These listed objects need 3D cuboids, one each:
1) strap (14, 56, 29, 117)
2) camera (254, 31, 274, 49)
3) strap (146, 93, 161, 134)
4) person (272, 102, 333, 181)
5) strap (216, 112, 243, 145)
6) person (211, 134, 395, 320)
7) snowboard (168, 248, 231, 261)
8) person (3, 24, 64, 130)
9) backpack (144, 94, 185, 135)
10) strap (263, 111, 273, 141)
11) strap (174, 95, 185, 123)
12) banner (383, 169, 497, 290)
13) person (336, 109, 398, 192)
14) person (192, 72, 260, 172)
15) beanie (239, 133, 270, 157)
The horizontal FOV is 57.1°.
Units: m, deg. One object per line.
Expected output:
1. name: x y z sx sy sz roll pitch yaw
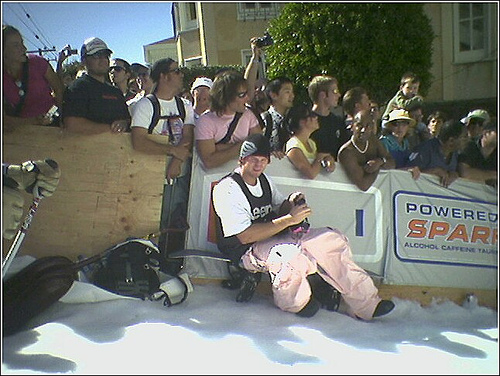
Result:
1. strap: -2.450 -1.054 4.948 0.080 0.699 0.106 8 -3 -40
2. camera: 0.152 -1.681 5.312 0.191 0.073 0.190 -20 -3 -17
3. strap: -1.062 -0.810 5.033 0.173 0.421 0.115 -10 15 -25
4. person: 0.568 -0.494 5.200 0.484 0.887 0.321 -17 37 15
5. strap: -0.218 -0.657 5.064 0.319 0.325 0.063 -9 15 -23
6. person: 0.416 0.435 4.667 1.537 1.927 0.599 4 16 28
7. snowboard: -0.533 0.692 4.782 0.815 0.055 0.217 5 12 -17
8. person: -2.370 -1.192 4.927 0.588 1.071 0.326 -7 14 -13
9. backpack: -0.953 -0.826 5.087 0.476 0.528 0.393 -7 15 -14
10. strap: 0.213 -0.699 5.232 0.065 0.250 0.268 -2 6 -17
11. strap: -0.785 -0.890 5.148 0.054 0.218 0.165 -5 11 -32
12. banner: 2.203 0.537 5.429 1.408 0.976 0.060 5 -12 -12
13. person: 1.324 -0.480 5.410 0.562 0.853 0.680 4 24 38
14. person: -0.253 -0.690 5.045 0.743 1.201 0.738 -21 32 -38
15. beanie: 0.050 -0.433 4.661 0.277 0.214 0.200 14 13 32
